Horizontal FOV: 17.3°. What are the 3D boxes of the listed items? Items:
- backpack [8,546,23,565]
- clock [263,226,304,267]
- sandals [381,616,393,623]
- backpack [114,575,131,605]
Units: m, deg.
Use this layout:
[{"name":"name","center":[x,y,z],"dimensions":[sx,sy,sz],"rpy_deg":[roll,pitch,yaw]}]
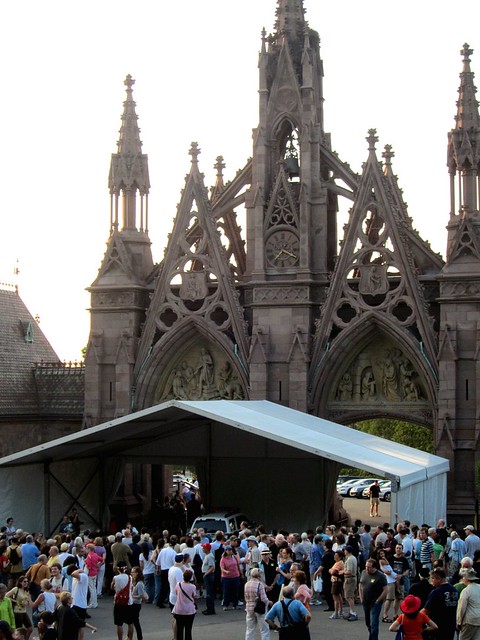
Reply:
[{"name":"backpack","center":[-4.471,4.867,32.392],"dimensions":[0.385,0.509,0.295],"rpy_deg":[1,-13,-5]},{"name":"clock","center":[1.388,-2.169,48.828],"dimensions":[1.088,1.303,0.222],"rpy_deg":[-7,-15,29]},{"name":"sandals","center":[3.011,6.110,31.928],"dimensions":[0.083,0.083,0.209],"rpy_deg":[-1,-8,-38]},{"name":"backpack","center":[-2.108,5.109,29.478],"dimensions":[0.285,0.544,0.251],"rpy_deg":[1,-13,-4]}]
